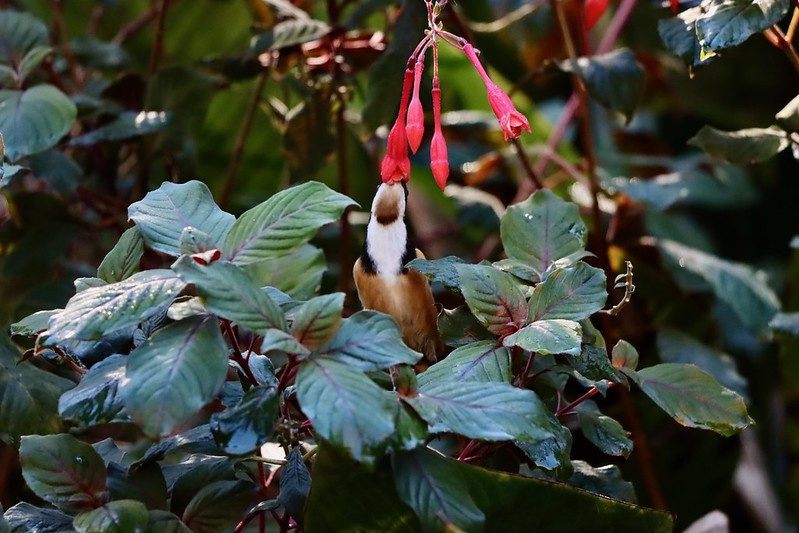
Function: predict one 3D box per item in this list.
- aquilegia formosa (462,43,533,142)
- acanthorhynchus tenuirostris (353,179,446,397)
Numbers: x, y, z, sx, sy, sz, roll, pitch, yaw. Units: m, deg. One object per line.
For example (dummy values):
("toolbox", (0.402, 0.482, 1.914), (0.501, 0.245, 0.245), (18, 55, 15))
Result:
("aquilegia formosa", (0.124, -0.272, 1.521), (0.056, 0.060, 0.202), (-26, 60, -3))
("acanthorhynchus tenuirostris", (0.013, 0.049, 1.666), (0.114, 0.395, 0.284), (-1, 71, 15))
